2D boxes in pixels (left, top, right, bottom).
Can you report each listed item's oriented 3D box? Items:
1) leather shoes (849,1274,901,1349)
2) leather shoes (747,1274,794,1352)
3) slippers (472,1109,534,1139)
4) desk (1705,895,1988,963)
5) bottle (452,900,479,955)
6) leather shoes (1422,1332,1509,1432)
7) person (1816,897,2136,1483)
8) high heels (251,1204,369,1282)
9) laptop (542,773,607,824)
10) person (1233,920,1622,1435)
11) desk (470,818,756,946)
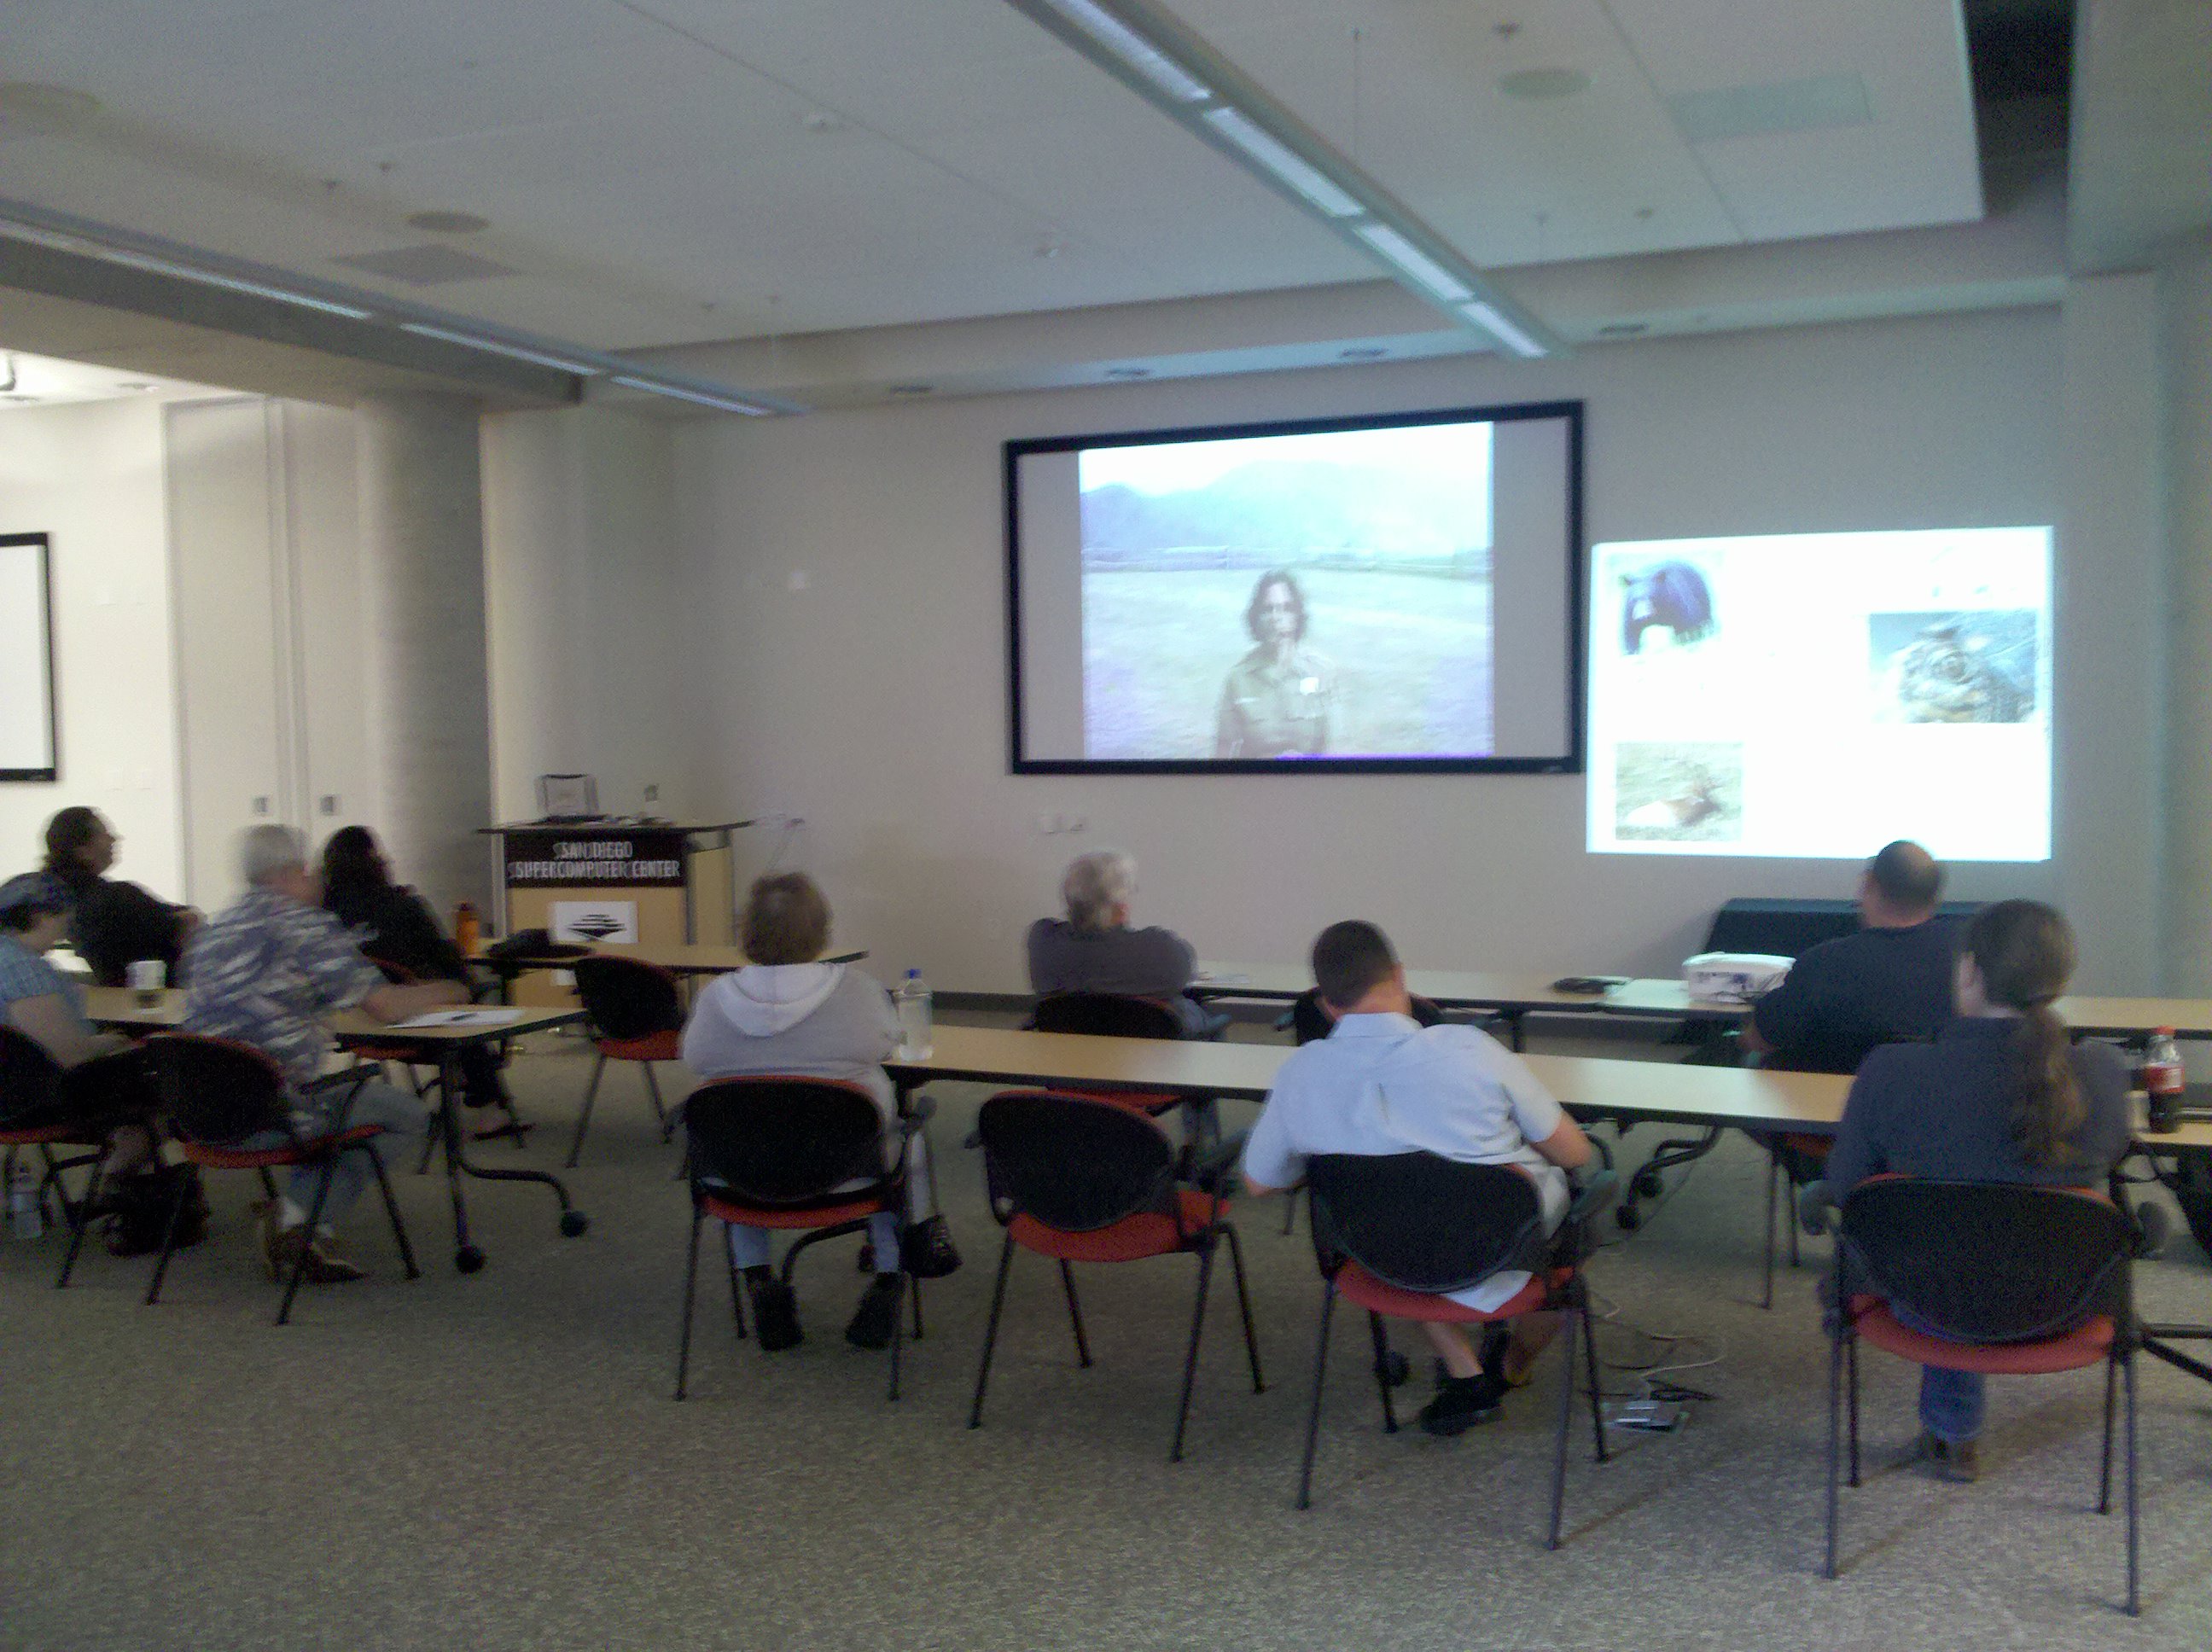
[{"bbox_3d":[-0.688,1.488,5.546,0.163,0.236,0.110,6,-7,18],"label":"leather shoes"},{"bbox_3d":[-1.016,1.487,5.609,0.138,0.099,0.242,-1,33,-24],"label":"leather shoes"},{"bbox_3d":[-2.709,1.335,8.101,0.298,0.101,0.102,3,-4,-23],"label":"slippers"},{"bbox_3d":[3.239,0.462,8.613,0.708,0.395,0.484,1,-1,-15],"label":"desk"},{"bbox_3d":[-3.236,0.510,9.173,0.140,0.219,0.176,-7,11,-26],"label":"bottle"},{"bbox_3d":[1.013,1.564,5.065,0.357,0.132,0.130,0,-3,-44],"label":"leather shoes"},{"bbox_3d":[2.105,0.596,4.371,0.683,0.789,0.384,2,11,20],"label":"person"},{"bbox_3d":[-2.834,1.453,6.342,0.504,0.183,0.168,4,3,26],"label":"high heels"},{"bbox_3d":[-3.089,-0.161,10.505,0.336,0.280,0.163,1,12,-3],"label":"laptop"},{"bbox_3d":[0.795,0.664,4.676,0.872,0.788,0.379,1,10,14],"label":"person"},{"bbox_3d":[-2.858,0.280,10.476,1.318,1.080,0.824,1,1,12],"label":"desk"}]
